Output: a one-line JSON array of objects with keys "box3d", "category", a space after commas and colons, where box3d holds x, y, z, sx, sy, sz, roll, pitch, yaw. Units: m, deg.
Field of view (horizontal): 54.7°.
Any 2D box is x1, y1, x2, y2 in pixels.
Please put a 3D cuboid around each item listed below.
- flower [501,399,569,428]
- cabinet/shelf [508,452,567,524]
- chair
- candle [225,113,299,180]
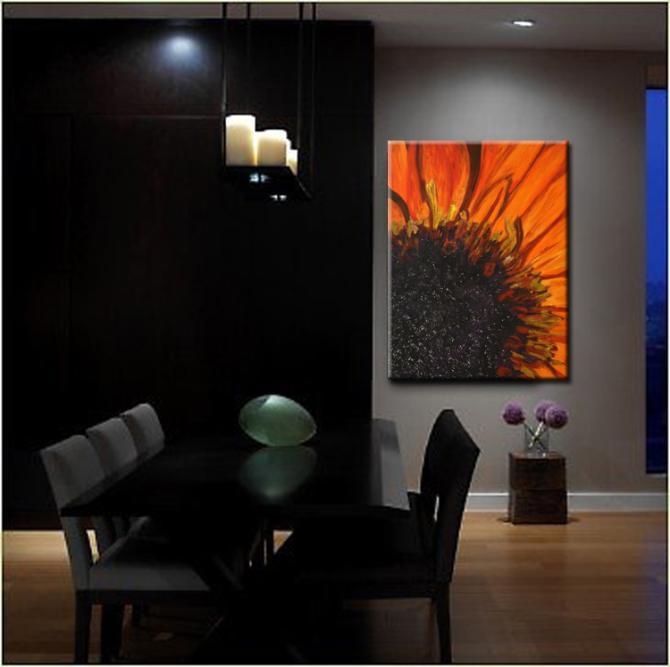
[{"box3d": [1.206, 0.475, 3.893, 0.284, 0.172, 0.184, 0, -2, 22], "category": "flower"}, {"box3d": [1.207, 0.905, 3.945, 0.318, 0.389, 0.361, 0, -3, 4], "category": "cabinet/shelf"}, {"box3d": [-0.227, 0.752, 2.331, 1.403, 0.809, 1.013, 0, 2, 5], "category": "chair"}, {"box3d": [-0.288, -0.708, 2.482, 0.265, 0.210, 0.333, 0, 2, -9], "category": "candle"}]
